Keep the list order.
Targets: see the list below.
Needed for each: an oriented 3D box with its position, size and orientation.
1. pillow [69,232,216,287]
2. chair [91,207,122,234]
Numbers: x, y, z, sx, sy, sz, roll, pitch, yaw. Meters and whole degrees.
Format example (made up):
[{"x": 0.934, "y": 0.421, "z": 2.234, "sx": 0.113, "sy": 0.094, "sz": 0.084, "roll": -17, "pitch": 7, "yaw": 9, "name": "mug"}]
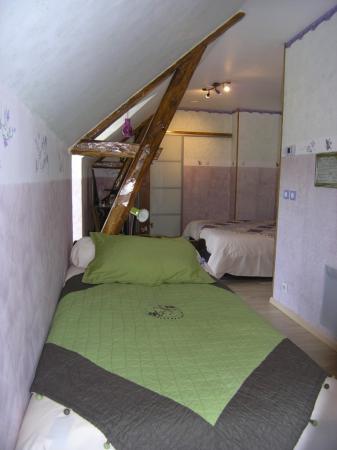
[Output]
[{"x": -0.188, "y": 0.266, "z": 2.375, "sx": 0.624, "sy": 0.127, "sz": 0.513, "roll": 2, "pitch": 19, "yaw": -14, "name": "pillow"}, {"x": -0.918, "y": -0.070, "z": 4.421, "sx": 0.208, "sy": 0.339, "sz": 0.489, "roll": 0, "pitch": 8, "yaw": -13, "name": "chair"}]
